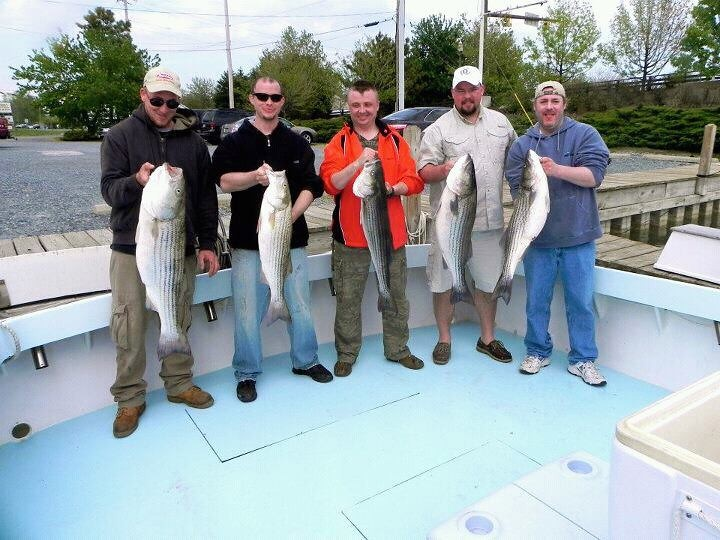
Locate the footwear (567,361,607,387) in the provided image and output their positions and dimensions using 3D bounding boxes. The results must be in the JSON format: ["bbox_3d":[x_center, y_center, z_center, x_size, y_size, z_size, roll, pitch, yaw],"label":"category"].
[{"bbox_3d":[1.691,0.749,3.687,0.104,0.126,0.267,-6,12,-24],"label":"footwear"}]

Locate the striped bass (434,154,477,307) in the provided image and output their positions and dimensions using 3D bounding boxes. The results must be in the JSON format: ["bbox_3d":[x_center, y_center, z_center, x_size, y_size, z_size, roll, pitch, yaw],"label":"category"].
[{"bbox_3d":[0.692,-0.293,3.561,0.298,1.056,0.213,-2,18,-2],"label":"striped bass"}]

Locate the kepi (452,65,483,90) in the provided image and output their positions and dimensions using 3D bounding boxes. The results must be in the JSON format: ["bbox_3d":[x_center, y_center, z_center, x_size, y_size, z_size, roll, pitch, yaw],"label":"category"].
[{"bbox_3d":[0.812,-1.440,3.721,0.154,0.123,0.231,-2,19,17],"label":"kepi"}]

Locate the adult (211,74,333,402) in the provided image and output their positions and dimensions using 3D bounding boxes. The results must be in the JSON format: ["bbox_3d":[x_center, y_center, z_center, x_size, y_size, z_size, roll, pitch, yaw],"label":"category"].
[{"bbox_3d":[-0.573,-0.147,3.479,0.801,2.241,0.781,-4,15,-18],"label":"adult"}]

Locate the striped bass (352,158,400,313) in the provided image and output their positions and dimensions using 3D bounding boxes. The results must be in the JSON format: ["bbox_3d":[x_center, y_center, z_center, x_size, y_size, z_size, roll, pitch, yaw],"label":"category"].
[{"bbox_3d":[0.098,-0.249,3.435,0.304,1.005,0.222,-15,18,-28],"label":"striped bass"}]

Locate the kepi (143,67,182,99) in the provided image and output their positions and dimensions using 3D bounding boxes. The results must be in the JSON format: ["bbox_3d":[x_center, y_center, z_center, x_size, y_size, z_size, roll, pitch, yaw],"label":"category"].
[{"bbox_3d":[-1.170,-1.141,3.005,0.336,0.184,0.179,12,23,33],"label":"kepi"}]

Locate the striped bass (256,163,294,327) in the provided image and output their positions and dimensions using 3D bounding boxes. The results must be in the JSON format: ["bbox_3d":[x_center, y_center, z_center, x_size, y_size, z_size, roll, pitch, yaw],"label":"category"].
[{"bbox_3d":[-0.532,-0.165,3.194,0.224,0.955,0.243,-5,19,-10],"label":"striped bass"}]

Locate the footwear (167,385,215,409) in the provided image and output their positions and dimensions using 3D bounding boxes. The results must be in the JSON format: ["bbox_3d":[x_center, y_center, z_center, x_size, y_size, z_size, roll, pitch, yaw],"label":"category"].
[{"bbox_3d":[-1.149,0.840,3.395,0.274,0.122,0.141,3,15,8],"label":"footwear"}]

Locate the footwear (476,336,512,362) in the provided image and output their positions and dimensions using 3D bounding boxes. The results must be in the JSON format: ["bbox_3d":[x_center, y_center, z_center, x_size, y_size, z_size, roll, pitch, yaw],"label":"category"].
[{"bbox_3d":[1.109,0.655,4.095,0.116,0.129,0.308,-25,34,-37],"label":"footwear"}]

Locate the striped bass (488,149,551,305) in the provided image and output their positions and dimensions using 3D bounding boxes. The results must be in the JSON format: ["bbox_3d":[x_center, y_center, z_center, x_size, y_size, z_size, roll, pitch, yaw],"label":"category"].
[{"bbox_3d":[1.151,-0.304,3.449,0.365,1.044,0.261,-1,18,0],"label":"striped bass"}]

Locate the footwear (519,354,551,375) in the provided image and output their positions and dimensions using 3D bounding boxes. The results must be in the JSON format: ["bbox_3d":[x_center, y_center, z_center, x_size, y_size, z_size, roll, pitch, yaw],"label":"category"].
[{"bbox_3d":[1.345,0.713,3.805,0.248,0.111,0.098,-4,6,-38],"label":"footwear"}]

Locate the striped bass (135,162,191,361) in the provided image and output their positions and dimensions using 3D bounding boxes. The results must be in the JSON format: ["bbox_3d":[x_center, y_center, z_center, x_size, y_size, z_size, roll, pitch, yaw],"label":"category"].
[{"bbox_3d":[-1.146,-0.068,2.950,0.324,1.114,0.207,-15,22,-35],"label":"striped bass"}]
